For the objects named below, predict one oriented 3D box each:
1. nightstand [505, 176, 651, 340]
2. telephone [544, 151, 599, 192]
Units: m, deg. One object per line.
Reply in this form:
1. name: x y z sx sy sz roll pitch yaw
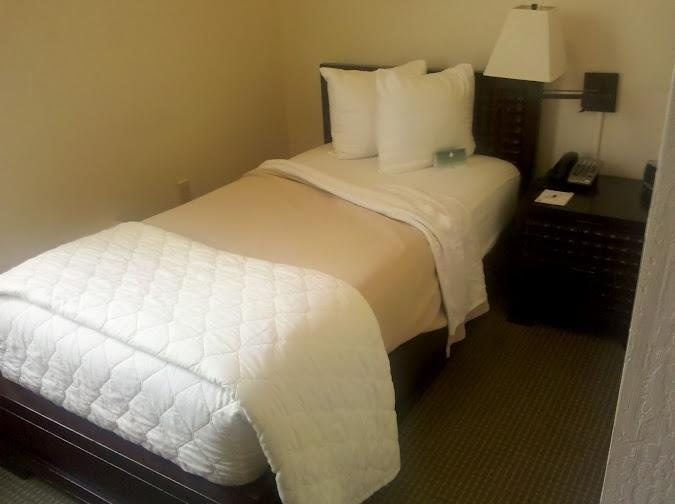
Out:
1. nightstand: 1.066 0.032 2.549 0.551 0.624 0.666 8 49 19
2. telephone: 1.119 -0.374 2.555 0.203 0.066 0.224 12 53 36
